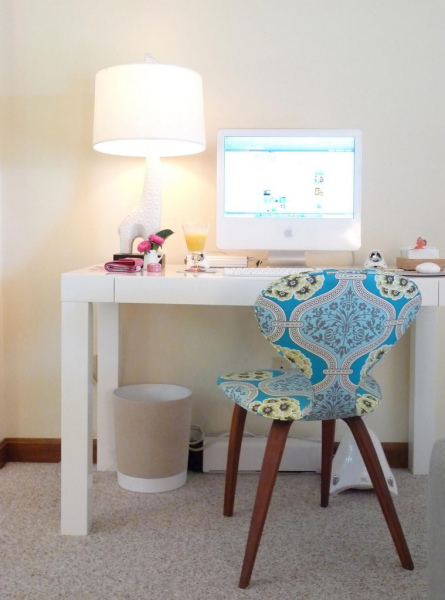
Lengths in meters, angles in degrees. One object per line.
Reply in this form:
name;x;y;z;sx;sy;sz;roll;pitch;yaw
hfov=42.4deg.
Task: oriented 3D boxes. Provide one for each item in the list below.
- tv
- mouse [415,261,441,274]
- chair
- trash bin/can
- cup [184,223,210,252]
tv;0.213;-0.349;1.856;0.481;0.411;0.148;0;4;0
mouse;0.597;-0.097;1.640;0.044;0.021;0.042;-4;8;-23
chair;0.226;0.285;1.491;0.459;0.778;0.461;-2;10;-12
trash bin/can;-0.193;0.460;1.968;0.317;0.321;0.313;1;0;2
cup;-0.084;-0.197;1.841;0.082;0.076;0.082;-2;5;0
